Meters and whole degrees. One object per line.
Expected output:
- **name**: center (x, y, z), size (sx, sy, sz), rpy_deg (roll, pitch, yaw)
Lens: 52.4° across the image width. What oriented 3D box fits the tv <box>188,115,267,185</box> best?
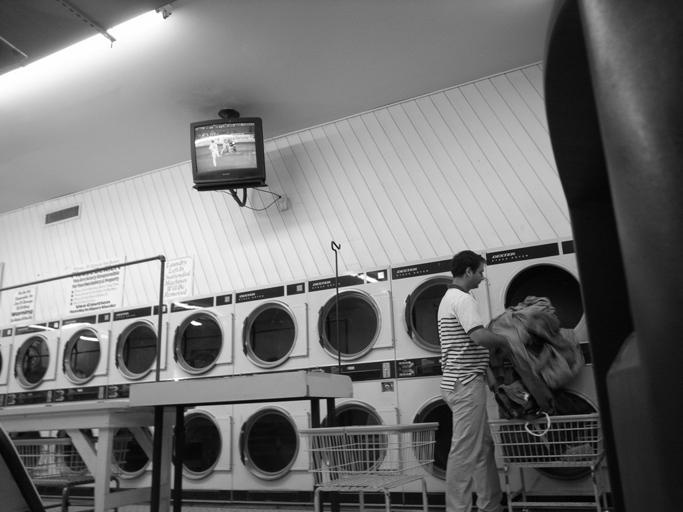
- **tv**: center (-1.020, -0.947, 6.614), size (0.826, 0.840, 0.510), rpy_deg (-1, 5, 3)
